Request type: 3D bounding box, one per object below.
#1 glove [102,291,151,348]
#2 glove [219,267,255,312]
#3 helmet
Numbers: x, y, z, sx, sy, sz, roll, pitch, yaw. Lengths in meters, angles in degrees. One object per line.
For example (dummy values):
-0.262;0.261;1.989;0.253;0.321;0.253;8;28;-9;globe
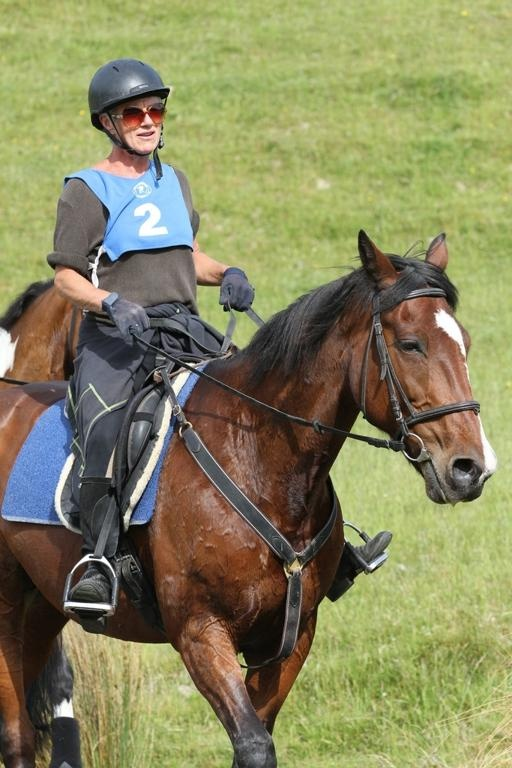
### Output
-0.525;-0.265;3.880;0.158;0.077;0.219;-29;56;-35;glove
-0.092;-0.434;4.471;0.166;0.078;0.204;19;47;-31;glove
-0.575;-1.291;4.391;0.385;0.307;0.327;13;29;38;helmet
